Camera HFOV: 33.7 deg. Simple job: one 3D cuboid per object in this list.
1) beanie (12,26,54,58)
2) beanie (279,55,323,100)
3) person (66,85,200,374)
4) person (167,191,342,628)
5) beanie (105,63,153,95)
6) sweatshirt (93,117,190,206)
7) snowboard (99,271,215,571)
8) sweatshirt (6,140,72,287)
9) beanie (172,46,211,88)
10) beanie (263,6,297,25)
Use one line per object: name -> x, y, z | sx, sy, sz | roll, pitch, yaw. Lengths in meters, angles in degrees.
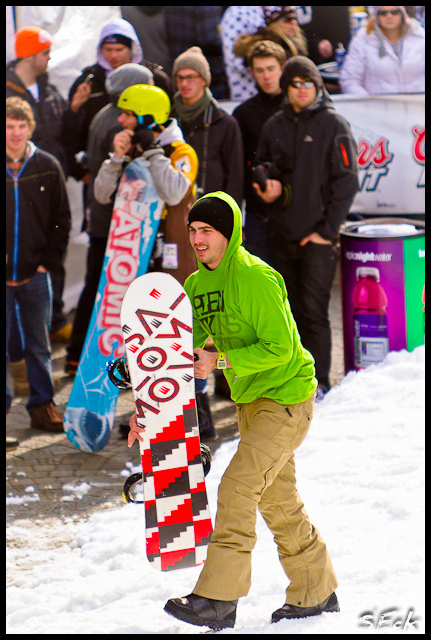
beanie -> -1.265, -1.965, 5.036 | 0.296, 0.246, 0.217 | -2, 4, -10
beanie -> 0.584, -1.647, 4.857 | 0.288, 0.290, 0.176 | -4, 11, 5
person -> -0.474, -0.666, 4.592 | 0.601, 2.382, 0.368 | 8, -1, 19
person -> 0.143, 0.354, 2.612 | 0.558, 1.624, 0.880 | -3, 12, 9
beanie -> -0.567, -1.580, 4.641 | 0.301, 0.190, 0.170 | -6, 11, -7
sweatshirt -> -0.482, -0.944, 4.585 | 0.524, 0.611, 0.416 | -15, 26, -13
snowboard -> -0.189, 0.414, 2.775 | 0.370, 1.264, 0.185 | -4, 0, -25
sweatshirt -> -1.195, -0.726, 4.775 | 0.131, 0.941, 0.540 | 7, 16, 44
beanie -> -0.170, -1.883, 5.219 | 0.231, 0.275, 0.322 | 2, -3, 1
beanie -> 0.518, -2.506, 5.812 | 0.252, 0.176, 0.241 | -4, 11, 5
